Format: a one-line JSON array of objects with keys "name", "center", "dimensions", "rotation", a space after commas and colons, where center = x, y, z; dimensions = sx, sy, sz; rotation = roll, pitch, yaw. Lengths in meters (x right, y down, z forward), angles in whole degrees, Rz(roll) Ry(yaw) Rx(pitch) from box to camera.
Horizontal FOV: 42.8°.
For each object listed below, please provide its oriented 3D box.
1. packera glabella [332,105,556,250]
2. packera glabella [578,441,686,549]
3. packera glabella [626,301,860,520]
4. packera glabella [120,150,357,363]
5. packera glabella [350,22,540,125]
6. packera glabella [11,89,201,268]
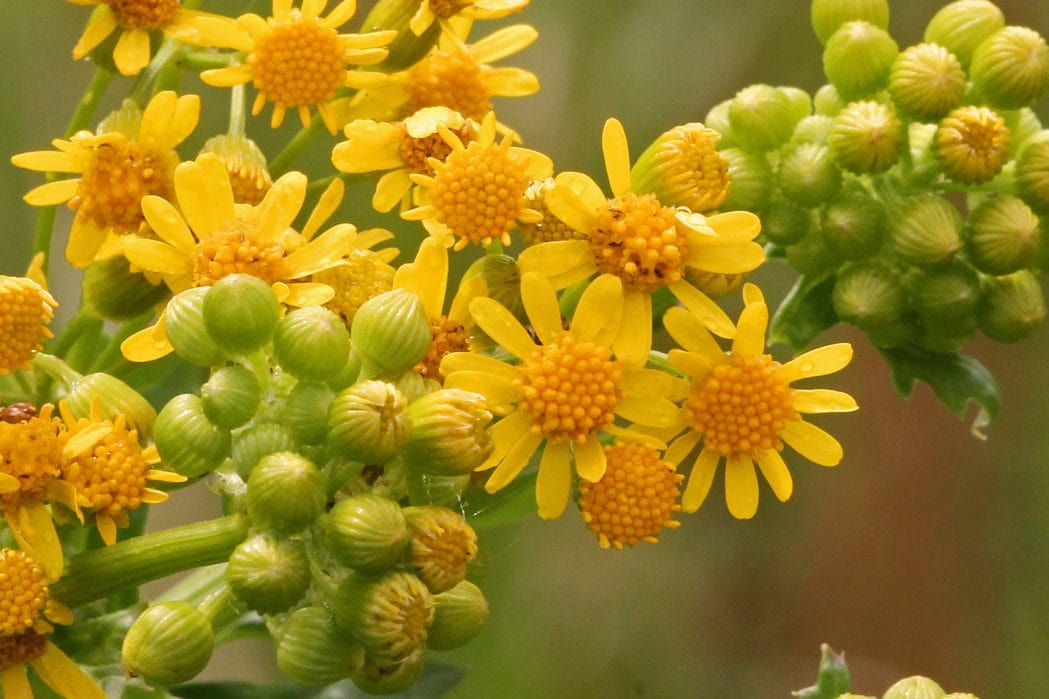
[{"name": "packera glabella", "center": [-0.121, -0.295, 2.117], "dimensions": [0.260, 0.278, 0.120], "rotation": [-1, 40, 20]}, {"name": "packera glabella", "center": [0.158, 0.213, 2.028], "dimensions": [0.189, 0.082, 0.222], "rotation": [1, 92, 0]}, {"name": "packera glabella", "center": [0.343, 0.103, 2.088], "dimensions": [0.321, 0.110, 0.342], "rotation": [-28, 65, -20]}, {"name": "packera glabella", "center": [-0.444, -0.122, 2.151], "dimensions": [0.327, 0.109, 0.323], "rotation": [-41, 77, -14]}, {"name": "packera glabella", "center": [-0.137, -0.456, 2.271], "dimensions": [0.204, 0.083, 0.211], "rotation": [-20, 17, 8]}, {"name": "packera glabella", "center": [-0.655, -0.287, 2.201], "dimensions": [0.283, 0.127, 0.298], "rotation": [-28, 48, 32]}]
